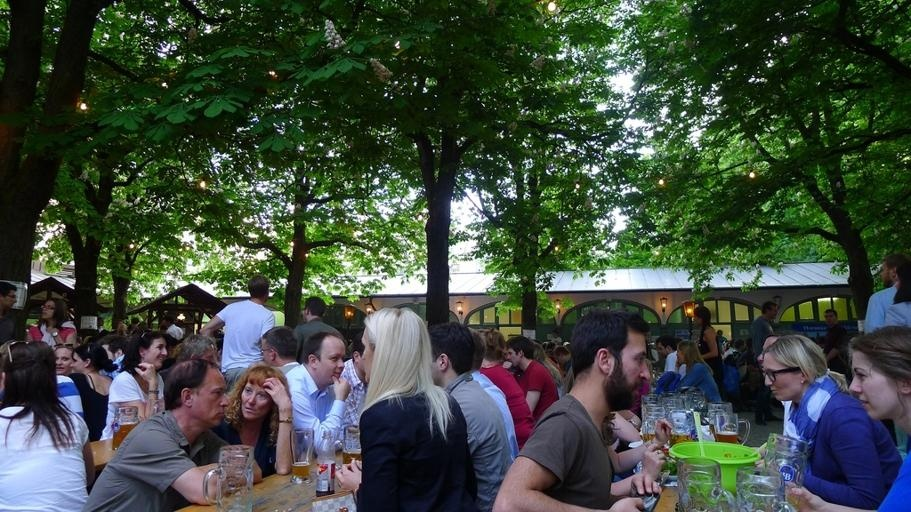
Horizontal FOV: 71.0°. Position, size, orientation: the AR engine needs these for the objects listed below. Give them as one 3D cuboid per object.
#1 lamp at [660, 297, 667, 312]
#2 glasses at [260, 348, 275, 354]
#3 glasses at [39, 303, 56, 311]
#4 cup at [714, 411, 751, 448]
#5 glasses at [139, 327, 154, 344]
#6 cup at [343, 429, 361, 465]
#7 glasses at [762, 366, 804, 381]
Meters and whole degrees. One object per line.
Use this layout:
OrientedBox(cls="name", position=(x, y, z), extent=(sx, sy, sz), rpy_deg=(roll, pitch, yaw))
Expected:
OrientedBox(cls="lamp", position=(10.608, 2.426, 32.549), extent=(0.313, 0.711, 0.948), rpy_deg=(-4, -9, 19))
OrientedBox(cls="glasses", position=(-3.049, 1.549, 10.506), extent=(0.132, 0.154, 0.537), rpy_deg=(3, -10, -27))
OrientedBox(cls="glasses", position=(-8.606, 1.060, 13.549), extent=(0.581, 0.185, 0.126), rpy_deg=(-10, -12, 43))
OrientedBox(cls="cup", position=(3.745, 2.328, 8.686), extent=(0.426, 0.421, 0.511), rpy_deg=(-4, -9, 20))
OrientedBox(cls="glasses", position=(-5.200, 1.358, 10.814), extent=(0.220, 0.220, 0.175), rpy_deg=(9, -14, 3))
OrientedBox(cls="cup", position=(-1.264, 2.301, 7.787), extent=(0.149, 0.401, 0.229), rpy_deg=(3, -9, -24))
OrientedBox(cls="glasses", position=(4.323, 1.553, 8.471), extent=(0.466, 0.160, 0.189), rpy_deg=(-9, -12, 39))
